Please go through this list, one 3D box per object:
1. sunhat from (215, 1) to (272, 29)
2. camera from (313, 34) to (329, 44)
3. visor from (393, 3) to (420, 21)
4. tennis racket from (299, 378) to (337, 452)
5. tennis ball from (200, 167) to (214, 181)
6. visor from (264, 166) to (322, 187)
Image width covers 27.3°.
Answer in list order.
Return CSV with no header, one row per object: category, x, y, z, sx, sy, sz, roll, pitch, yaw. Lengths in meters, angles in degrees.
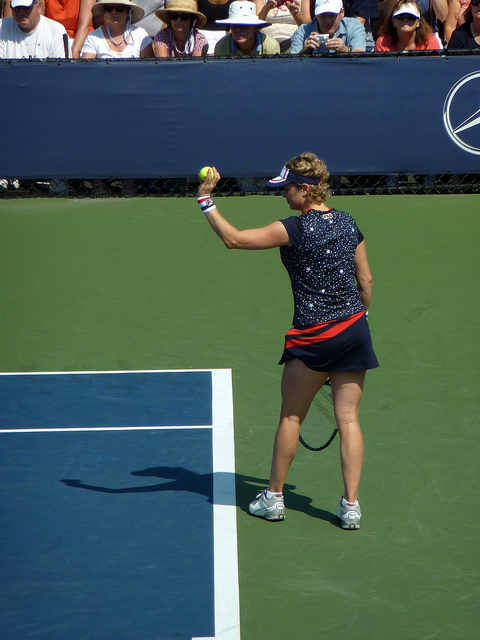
sunhat,0.015,-3.105,10.055,0.660,0.220,0.660,2,18,-3
camera,0.782,-2.700,9.459,0.153,0.093,0.078,1,25,4
visor,1.623,-3.035,9.717,0.257,0.150,0.175,-2,20,8
tennis racket,0.476,0.604,6.163,0.027,0.166,0.653,-39,10,33
tennis ball,-0.191,-0.818,5.532,0.070,0.076,0.133,-8,20,-7
visor,0.284,-0.787,5.518,0.238,0.067,0.130,2,0,-2
